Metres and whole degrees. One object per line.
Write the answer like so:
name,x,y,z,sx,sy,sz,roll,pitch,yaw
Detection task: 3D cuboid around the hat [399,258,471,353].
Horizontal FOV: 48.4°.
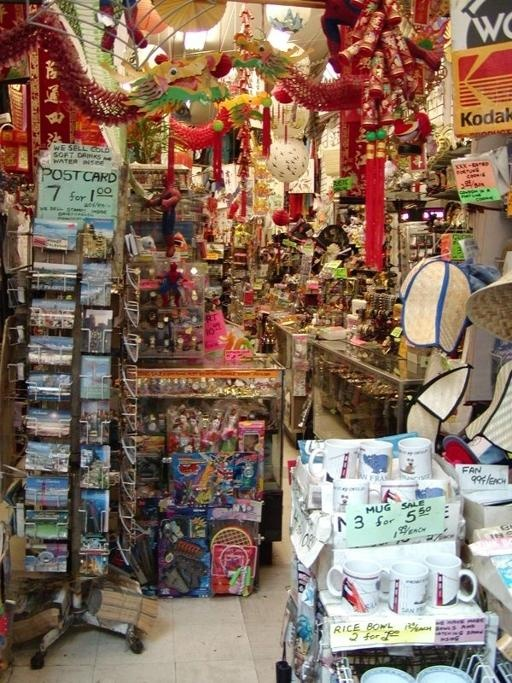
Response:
hat,0.548,-0.118,1.755,0.228,0.291,0.158,0,-14,11

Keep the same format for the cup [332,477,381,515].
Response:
cup,0.232,0.346,1.306,0.093,0.057,0.057,2,-6,-25

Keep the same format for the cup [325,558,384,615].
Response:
cup,0.190,0.499,1.179,0.071,0.073,0.116,-1,-3,-37

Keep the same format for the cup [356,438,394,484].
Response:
cup,0.299,0.296,1.435,0.076,0.088,0.110,3,3,23

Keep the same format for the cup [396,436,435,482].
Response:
cup,0.396,0.288,1.470,0.101,0.099,0.094,-4,15,1

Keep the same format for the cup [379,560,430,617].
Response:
cup,0.289,0.488,1.142,0.068,0.079,0.101,-1,7,1

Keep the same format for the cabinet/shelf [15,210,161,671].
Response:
cabinet/shelf,-0.941,0.657,2.703,0.589,1.377,0.475,-30,-21,29

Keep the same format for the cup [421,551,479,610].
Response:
cup,0.398,0.499,1.214,0.124,0.079,0.073,3,4,30
